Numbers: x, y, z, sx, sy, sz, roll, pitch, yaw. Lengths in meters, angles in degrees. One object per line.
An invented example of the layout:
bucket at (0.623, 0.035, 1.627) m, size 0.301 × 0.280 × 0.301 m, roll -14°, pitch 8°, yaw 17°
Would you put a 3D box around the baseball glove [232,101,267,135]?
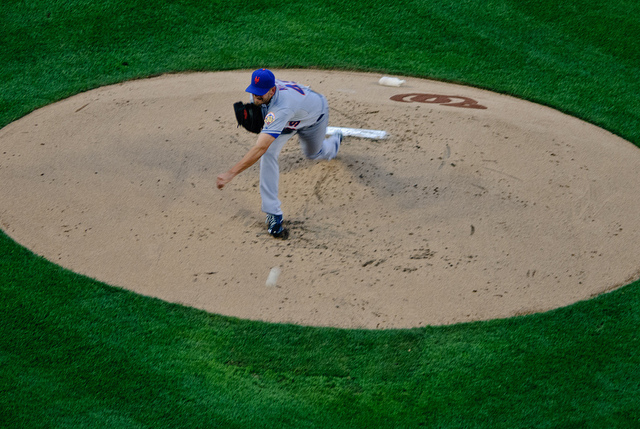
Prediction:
baseball glove at (-1.007, -1.406, 11.974) m, size 0.481 × 0.272 × 0.423 m, roll 12°, pitch 80°, yaw -2°
